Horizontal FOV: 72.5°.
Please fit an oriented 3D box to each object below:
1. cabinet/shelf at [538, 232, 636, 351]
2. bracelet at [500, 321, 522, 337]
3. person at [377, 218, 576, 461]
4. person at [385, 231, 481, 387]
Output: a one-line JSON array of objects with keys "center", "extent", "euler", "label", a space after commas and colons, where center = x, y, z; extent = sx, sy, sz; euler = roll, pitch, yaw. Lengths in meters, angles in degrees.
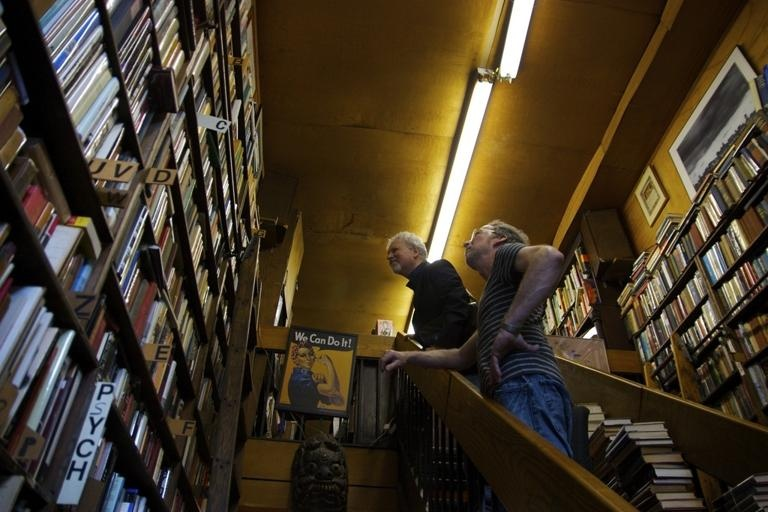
[{"center": [2.159, 0.364, 5.352], "extent": [0.304, 1.043, 1.083], "euler": [6, -10, -1], "label": "cabinet/shelf"}, {"center": [0.468, 0.266, 1.910], "extent": [0.054, 0.028, 0.052], "euler": [15, 9, -26], "label": "bracelet"}, {"center": [0.429, 0.264, 2.175], "extent": [0.677, 1.015, 0.494], "euler": [-10, -33, 22], "label": "person"}, {"center": [0.361, 0.291, 3.711], "extent": [0.503, 0.577, 1.461], "euler": [-3, 20, -6], "label": "person"}]
